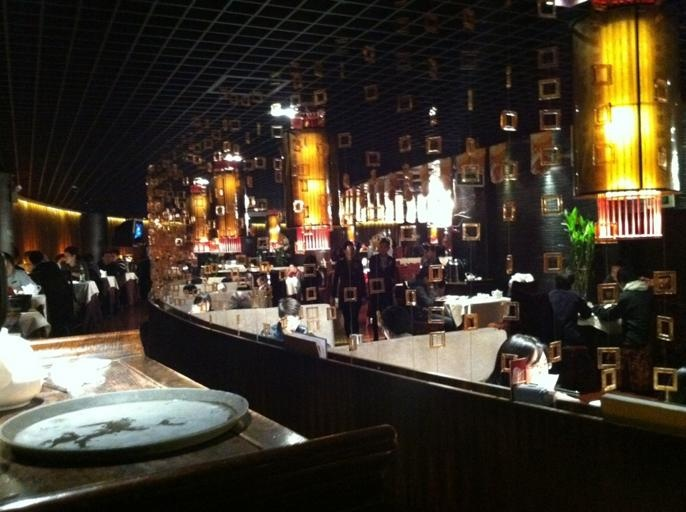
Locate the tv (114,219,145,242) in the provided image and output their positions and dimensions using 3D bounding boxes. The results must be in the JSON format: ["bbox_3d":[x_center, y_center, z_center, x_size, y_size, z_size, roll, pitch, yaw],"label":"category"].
[{"bbox_3d":[-8.600,-0.945,22.844,1.088,1.149,1.068,-3,-7,6],"label":"tv"}]

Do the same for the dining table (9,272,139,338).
[{"bbox_3d":[-3.952,0.715,8.438,1.083,0.443,1.655,-2,-4,-7],"label":"dining table"}]

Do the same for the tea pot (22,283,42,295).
[{"bbox_3d":[-4.070,0.441,7.500,0.240,0.111,0.296,-2,0,-36],"label":"tea pot"}]

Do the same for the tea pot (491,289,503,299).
[{"bbox_3d":[2.030,0.512,7.637,0.146,0.136,0.110,-1,-3,31],"label":"tea pot"}]
